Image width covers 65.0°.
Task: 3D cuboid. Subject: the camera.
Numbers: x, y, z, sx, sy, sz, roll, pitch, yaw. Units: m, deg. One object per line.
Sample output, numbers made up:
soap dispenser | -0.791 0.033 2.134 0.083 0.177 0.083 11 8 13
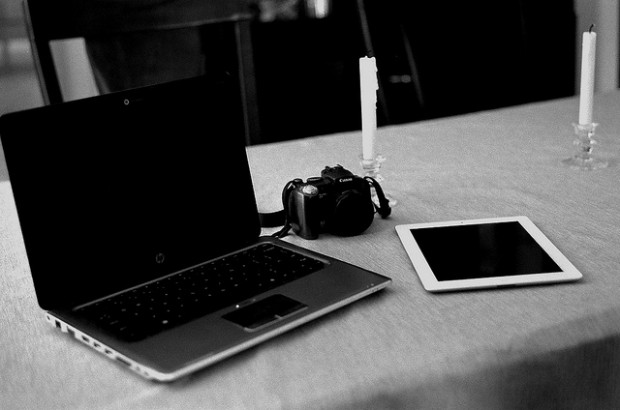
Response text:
camera | 0.038 -0.013 0.952 0.186 0.112 0.178 -3 13 -17

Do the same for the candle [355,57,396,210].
candle | 0.124 -0.141 0.981 0.124 0.303 0.098 -2 16 9
